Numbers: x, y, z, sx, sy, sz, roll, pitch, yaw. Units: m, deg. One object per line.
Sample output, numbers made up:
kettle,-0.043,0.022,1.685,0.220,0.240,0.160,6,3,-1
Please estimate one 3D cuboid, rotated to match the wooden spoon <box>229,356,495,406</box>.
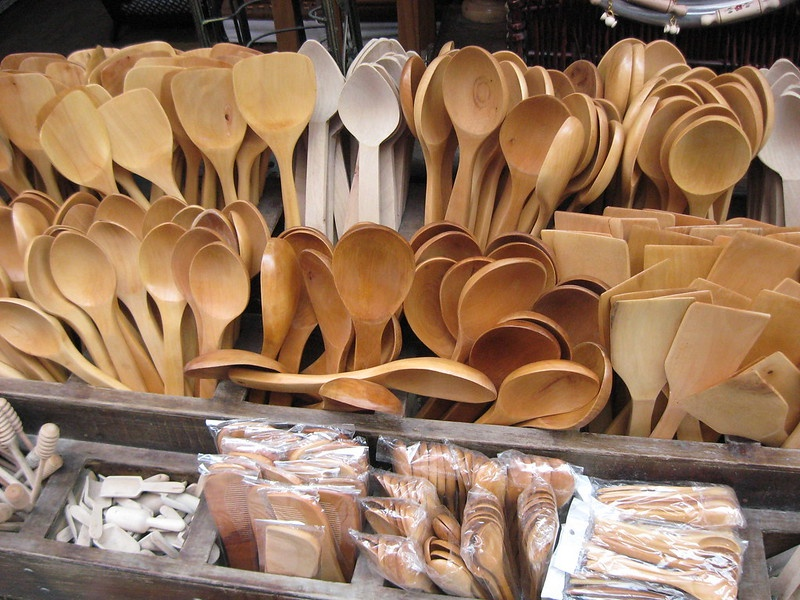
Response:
wooden spoon,-0.065,0.127,1.027,0.457,0.074,0.100,2,6,-4
